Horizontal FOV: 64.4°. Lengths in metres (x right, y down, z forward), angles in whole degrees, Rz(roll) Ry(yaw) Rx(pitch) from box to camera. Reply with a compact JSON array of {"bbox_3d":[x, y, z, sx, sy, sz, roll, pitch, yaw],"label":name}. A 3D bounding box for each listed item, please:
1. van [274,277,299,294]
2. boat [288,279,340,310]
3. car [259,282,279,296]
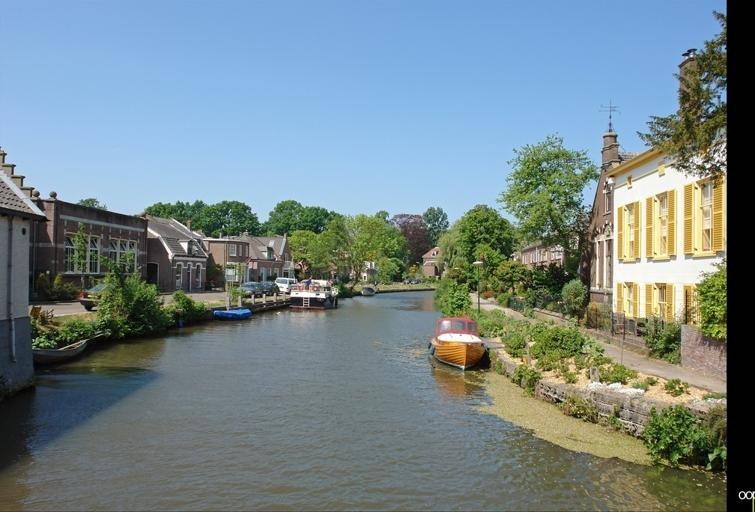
[{"bbox_3d":[-11.172,3.660,74.812,1.662,1.313,3.012,1,5,16],"label":"van"},{"bbox_3d":[-6.841,4.491,66.554,4.255,2.791,6.214,2,8,7],"label":"boat"},{"bbox_3d":[-12.217,3.733,68.566,1.414,1.068,2.319,1,4,5],"label":"car"}]
